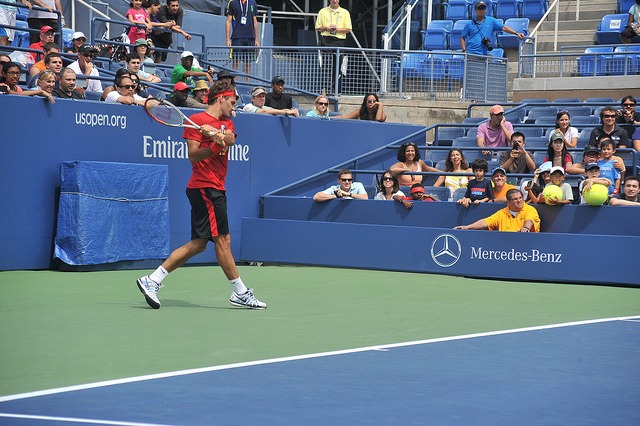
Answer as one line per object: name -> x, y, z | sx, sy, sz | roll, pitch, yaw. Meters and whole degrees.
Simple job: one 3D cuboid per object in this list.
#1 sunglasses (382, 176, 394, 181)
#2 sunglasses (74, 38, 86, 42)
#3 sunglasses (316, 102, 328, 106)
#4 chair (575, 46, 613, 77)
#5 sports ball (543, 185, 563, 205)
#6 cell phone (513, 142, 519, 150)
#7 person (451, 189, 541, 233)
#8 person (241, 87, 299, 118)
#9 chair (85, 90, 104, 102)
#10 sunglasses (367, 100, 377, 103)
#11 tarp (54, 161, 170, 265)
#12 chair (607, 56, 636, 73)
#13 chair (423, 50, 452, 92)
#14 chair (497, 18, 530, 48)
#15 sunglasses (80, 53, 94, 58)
sunglasses -> 1.164, -0.577, 13.618 | 0.178, 0.079, 0.070 | 1, 9, 1
sunglasses -> -4.433, -3.175, 14.986 | 0.093, 0.062, 0.263 | 6, 10, 29
sunglasses -> 0.058, -2.104, 15.792 | 0.200, 0.061, 0.106 | -2, 9, -16
chair -> 6.957, -3.781, 20.387 | 1.021, 0.914, 1.035 | 2, 5, 7
sports ball -> 3.589, -0.271, 12.378 | 0.307, 0.295, 0.188 | 1, 9, 4
cell phone -> 3.300, -1.120, 13.607 | 0.085, 0.124, 0.157 | -6, 11, -35
person -> 2.800, 0.047, 12.273 | 1.042, 0.727, 1.436 | 0, 4, 35
person -> -0.943, -1.943, 15.094 | 0.935, 0.579, 0.674 | 9, 8, 5
chair -> -3.826, -1.964, 13.704 | 0.260, 0.310, 0.259 | -1, 11, -25
sunglasses -> 1.061, -2.234, 16.352 | 0.170, 0.051, 0.053 | -1, 9, -13
tarp -> -3.346, 0.075, 13.114 | 0.735, 1.664, 1.925 | -2, -2, 41
chair -> 7.294, -3.540, 19.458 | 0.492, 0.302, 0.499 | 1, 5, 12
chair -> 2.757, -3.390, 18.994 | 0.664, 0.882, 0.680 | 1, 5, 6
chair -> 5.512, -4.998, 22.525 | 0.861, 0.924, 1.168 | 3, 3, 19
sunglasses -> -3.998, -2.681, 13.915 | 0.086, 0.067, 0.218 | 5, 10, 28
